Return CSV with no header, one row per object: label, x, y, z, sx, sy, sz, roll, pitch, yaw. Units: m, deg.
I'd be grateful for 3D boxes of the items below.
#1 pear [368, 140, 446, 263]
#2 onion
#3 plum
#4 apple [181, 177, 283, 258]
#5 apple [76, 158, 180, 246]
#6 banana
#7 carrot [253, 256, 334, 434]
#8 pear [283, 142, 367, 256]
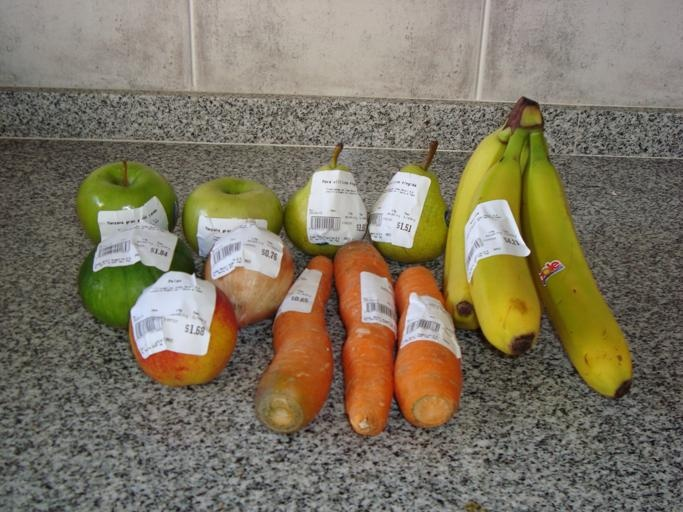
pear,0.129,-0.109,1.132,0.117,0.241,0.175,8,15,20
onion,-0.150,0.015,0.984,0.132,0.157,0.142,-5,18,-17
plum,-0.236,0.113,0.875,0.155,0.135,0.116,-2,36,-10
apple,-0.209,-0.062,1.121,0.184,0.190,0.195,-2,24,-14
apple,-0.394,-0.138,1.071,0.207,0.167,0.138,-17,24,-40
banana,0.311,-0.007,0.951,0.214,0.177,0.535,-1,51,-13
carrot,-0.061,0.127,0.925,0.084,0.082,0.328,12,38,-3
pear,-0.036,-0.105,1.124,0.119,0.226,0.181,-3,20,-8
